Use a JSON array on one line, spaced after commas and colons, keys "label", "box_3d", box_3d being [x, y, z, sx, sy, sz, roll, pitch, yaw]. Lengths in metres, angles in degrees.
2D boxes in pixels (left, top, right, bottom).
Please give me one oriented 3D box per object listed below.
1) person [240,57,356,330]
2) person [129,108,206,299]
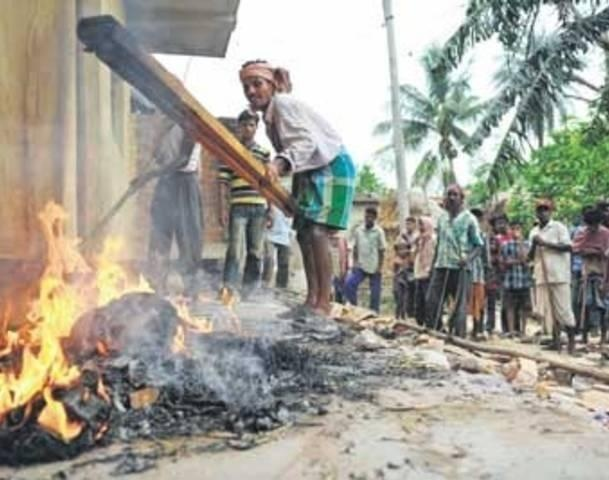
[{"label": "person", "box_3d": [0.009, -0.483, 6.872, 0.575, 2.167, 0.991, -11, -12, 41]}, {"label": "person", "box_3d": [-1.399, -0.339, 8.424, 0.611, 1.712, 0.445, -1, -9, -11]}]
